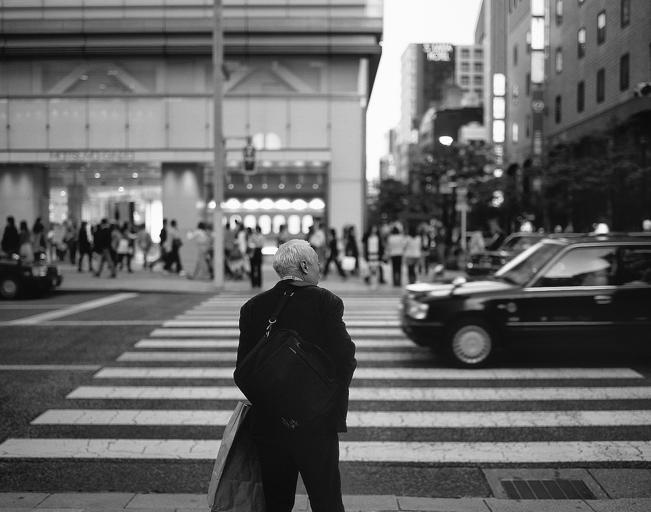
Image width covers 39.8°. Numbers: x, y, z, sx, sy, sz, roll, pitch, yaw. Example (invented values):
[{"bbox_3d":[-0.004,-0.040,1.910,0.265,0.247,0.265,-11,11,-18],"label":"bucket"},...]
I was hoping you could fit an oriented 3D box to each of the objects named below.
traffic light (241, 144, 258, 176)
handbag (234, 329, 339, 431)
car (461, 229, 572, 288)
[{"bbox_3d":[-2.124,-2.770,25.537,0.353,1.362,0.498,0,-19,-4],"label":"traffic light"},{"bbox_3d":[-0.311,0.978,7.625,0.691,0.876,0.344,-44,4,1],"label":"handbag"},{"bbox_3d":[3.703,0.095,19.240,0.969,0.872,2.326,-10,3,-31],"label":"car"}]
